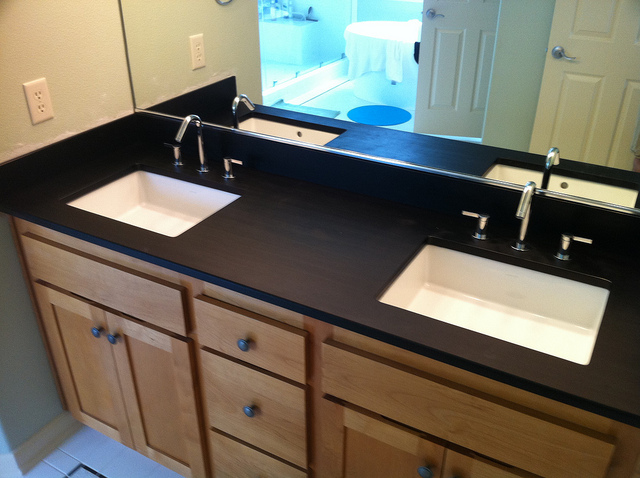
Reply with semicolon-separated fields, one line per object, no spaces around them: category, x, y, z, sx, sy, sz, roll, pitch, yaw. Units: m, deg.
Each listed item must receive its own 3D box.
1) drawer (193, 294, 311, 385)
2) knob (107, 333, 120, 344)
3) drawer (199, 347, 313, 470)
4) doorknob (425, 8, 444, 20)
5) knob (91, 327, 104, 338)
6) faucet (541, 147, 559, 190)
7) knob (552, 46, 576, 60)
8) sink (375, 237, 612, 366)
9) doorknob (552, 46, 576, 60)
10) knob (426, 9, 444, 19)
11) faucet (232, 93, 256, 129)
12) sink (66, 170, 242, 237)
drawer;-0.202;0.299;1.426;0.272;0.129;0.307;14;26;23
knob;-0.730;0.349;1.695;0.027;0.024;0.040;1;40;6
drawer;-0.151;0.536;1.651;0.460;0.308;0.299;7;18;37
doorknob;0.353;-0.696;1.464;0.045;0.026;0.016;9;26;22
knob;-0.801;0.333;1.712;0.027;0.034;0.036;26;49;14
faucet;0.720;-0.222;1.498;0.026;0.134;0.031;-11;33;-23
knob;0.702;-0.543;1.390;0.059;0.031;0.029;34;61;25
sink;0.517;0.170;1.440;0.614;0.190;0.270;9;30;10
doorknob;0.705;-0.543;1.387;0.057;0.029;0.026;30;45;25
knob;0.357;-0.694;1.468;0.042;0.024;0.021;16;52;5
faucet;-0.300;-0.515;1.911;0.117;0.169;0.033;-13;41;-16
sink;-0.729;-0.089;1.891;0.468;0.108;0.318;18;39;22
